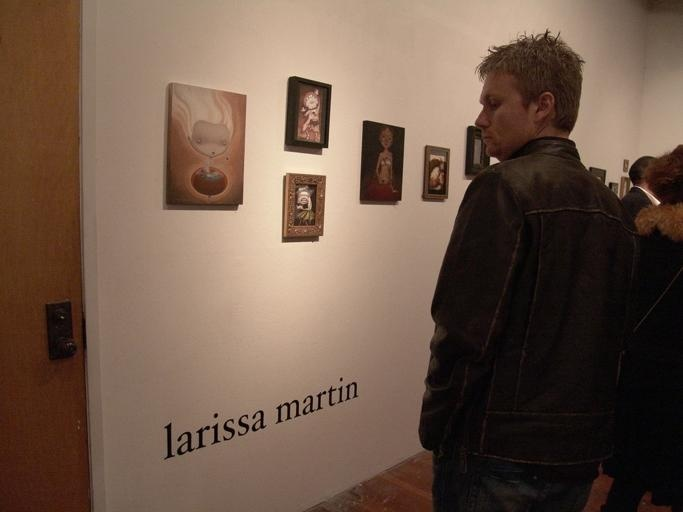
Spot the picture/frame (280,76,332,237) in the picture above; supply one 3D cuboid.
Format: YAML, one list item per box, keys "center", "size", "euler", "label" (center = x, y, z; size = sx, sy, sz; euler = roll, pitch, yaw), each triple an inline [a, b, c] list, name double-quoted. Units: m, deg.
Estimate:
- center: [-0.196, -0.516, 2.945]
  size: [0.293, 0.871, 0.060]
  euler: [-5, 9, -40]
  label: "picture/frame"
